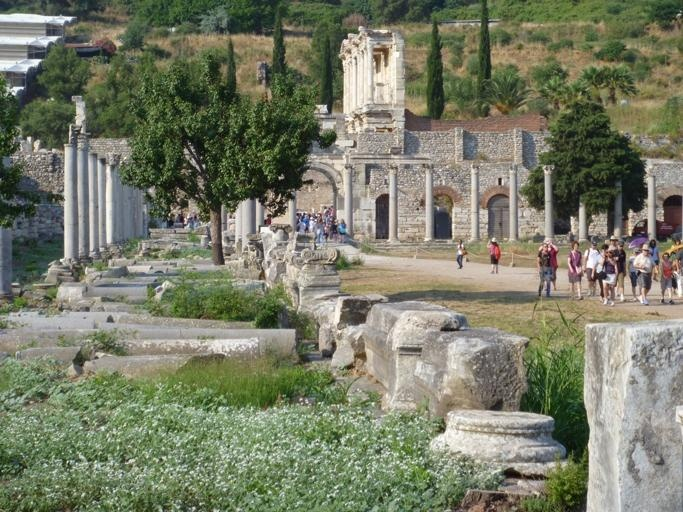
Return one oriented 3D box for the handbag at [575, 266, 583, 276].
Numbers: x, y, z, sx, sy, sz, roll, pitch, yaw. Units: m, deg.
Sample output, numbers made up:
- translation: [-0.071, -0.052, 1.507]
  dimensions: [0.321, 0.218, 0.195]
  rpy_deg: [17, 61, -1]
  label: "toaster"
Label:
- translation: [7.619, 0.496, 38.752]
  dimensions: [0.199, 0.321, 0.071]
  rpy_deg: [1, -2, -7]
  label: "handbag"
